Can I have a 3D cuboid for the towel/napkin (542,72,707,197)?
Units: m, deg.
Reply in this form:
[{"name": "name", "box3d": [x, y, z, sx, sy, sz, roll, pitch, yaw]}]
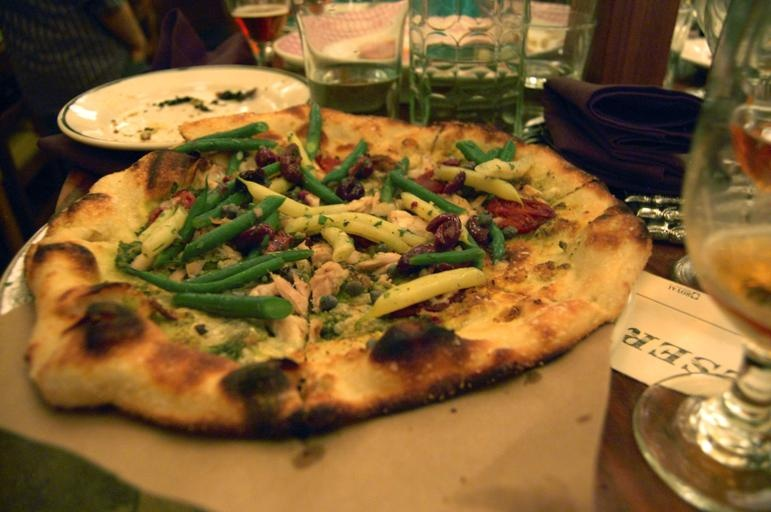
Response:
[{"name": "towel/napkin", "box3d": [1.301, -0.733, 3.311, 0.727, 0.250, 0.730, 9, 0, 19]}]
